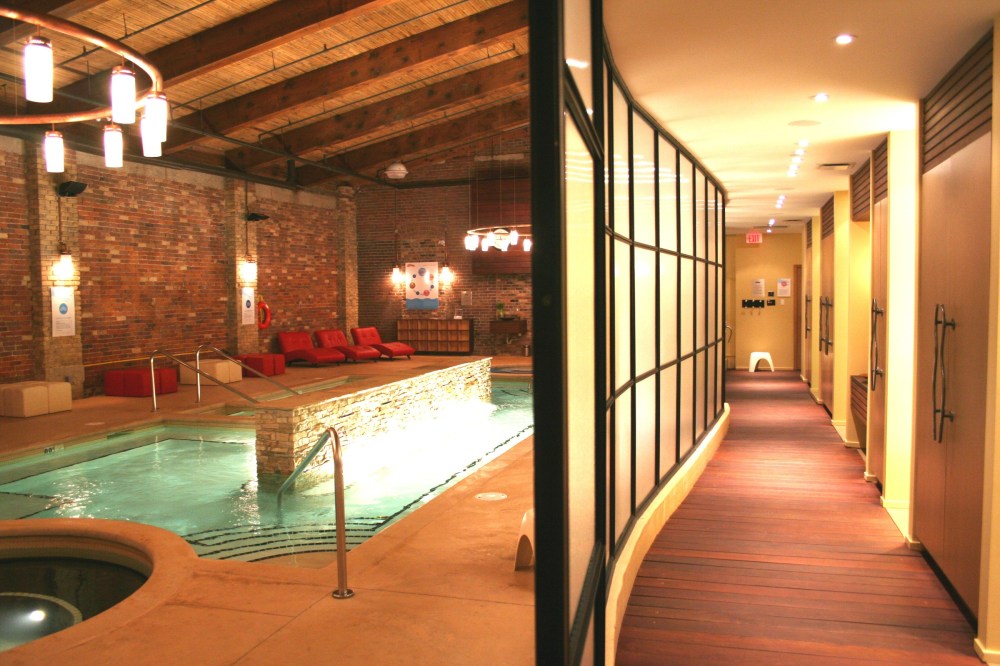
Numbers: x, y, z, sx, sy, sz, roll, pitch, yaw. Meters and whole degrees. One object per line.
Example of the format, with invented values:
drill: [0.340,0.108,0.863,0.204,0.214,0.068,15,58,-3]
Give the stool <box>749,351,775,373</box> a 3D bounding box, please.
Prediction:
stool: [6.989,0.771,17.153,0.813,0.430,0.679,-1,4,6]

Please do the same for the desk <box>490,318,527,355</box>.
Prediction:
desk: [0.285,0.066,17.574,1.475,1.021,0.670,0,0,10]

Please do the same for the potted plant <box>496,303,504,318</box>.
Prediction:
potted plant: [0.024,-0.629,17.616,0.264,0.393,0.154,-2,11,8]
